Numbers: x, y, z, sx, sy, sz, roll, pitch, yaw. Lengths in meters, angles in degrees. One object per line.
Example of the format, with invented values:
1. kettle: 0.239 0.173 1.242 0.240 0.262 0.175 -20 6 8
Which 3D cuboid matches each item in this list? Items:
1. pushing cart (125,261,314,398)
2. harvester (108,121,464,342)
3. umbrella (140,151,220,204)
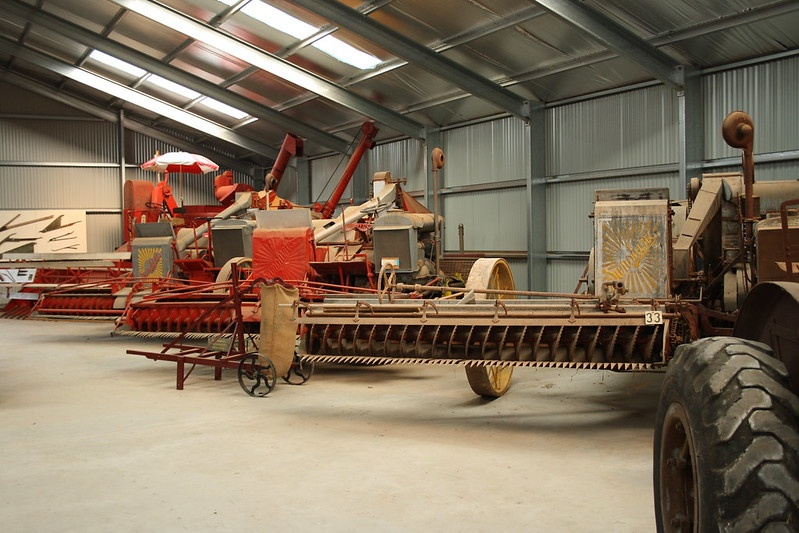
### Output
1. pushing cart: -2.172 0.976 8.314 3.816 2.248 1.480 -3 -4 32
2. harvester: -2.307 -0.404 10.675 6.264 3.536 3.479 -1 2 17
3. umbrella: -6.476 -2.819 16.844 1.695 1.117 1.726 -1 1 -40
